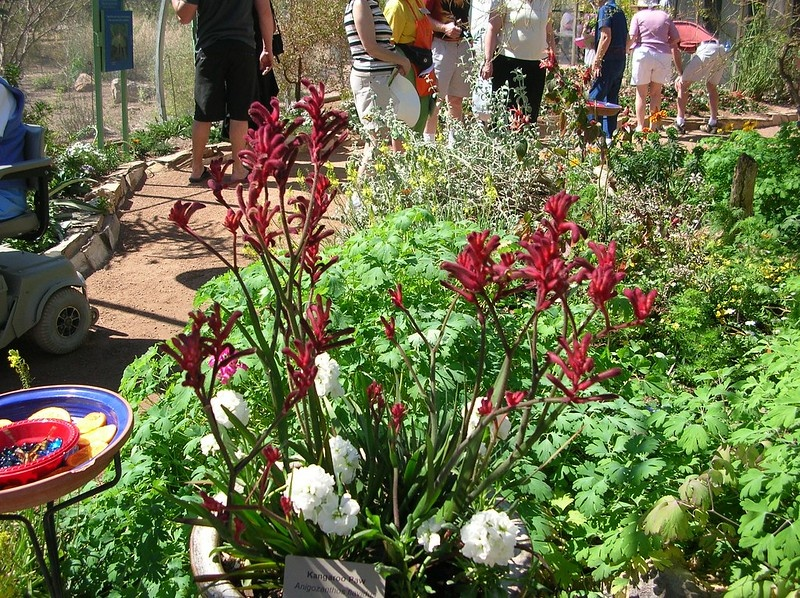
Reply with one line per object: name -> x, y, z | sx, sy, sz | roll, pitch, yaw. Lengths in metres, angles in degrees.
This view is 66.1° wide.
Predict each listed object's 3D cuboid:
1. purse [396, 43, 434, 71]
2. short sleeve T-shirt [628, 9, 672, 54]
purse -> 0.139, -2.060, 5.198 | 0.181, 0.119, 0.253 | 7, 34, -49
short sleeve T-shirt -> 3.176, -3.393, 7.780 | 0.507, 0.518, 0.329 | 8, 33, 17
